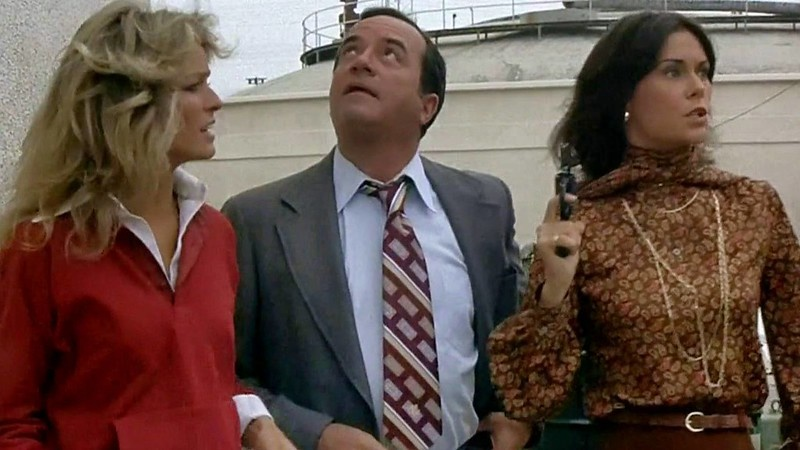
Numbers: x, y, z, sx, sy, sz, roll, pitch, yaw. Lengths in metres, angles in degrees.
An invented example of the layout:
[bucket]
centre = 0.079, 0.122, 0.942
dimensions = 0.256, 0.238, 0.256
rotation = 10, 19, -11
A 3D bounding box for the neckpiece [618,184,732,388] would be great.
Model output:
[neckpiece]
centre = 2.006, 0.435, 9.537
dimensions = 0.471, 1.443, 0.081
rotation = -14, -3, 1

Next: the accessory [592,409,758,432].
[accessory]
centre = 1.891, 1.327, 9.437
dimensions = 0.960, 0.162, 0.086
rotation = -3, 4, 5

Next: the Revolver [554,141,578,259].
[Revolver]
centre = 1.164, -0.179, 9.642
dimensions = 0.181, 0.796, 0.341
rotation = -1, 2, 7
